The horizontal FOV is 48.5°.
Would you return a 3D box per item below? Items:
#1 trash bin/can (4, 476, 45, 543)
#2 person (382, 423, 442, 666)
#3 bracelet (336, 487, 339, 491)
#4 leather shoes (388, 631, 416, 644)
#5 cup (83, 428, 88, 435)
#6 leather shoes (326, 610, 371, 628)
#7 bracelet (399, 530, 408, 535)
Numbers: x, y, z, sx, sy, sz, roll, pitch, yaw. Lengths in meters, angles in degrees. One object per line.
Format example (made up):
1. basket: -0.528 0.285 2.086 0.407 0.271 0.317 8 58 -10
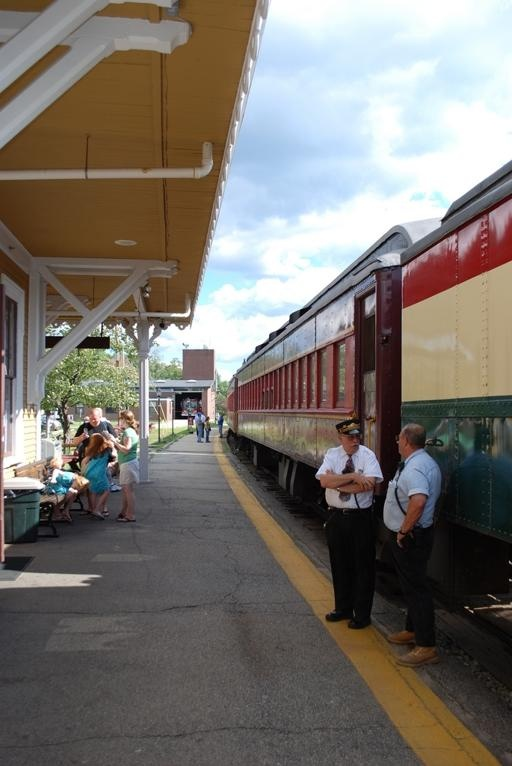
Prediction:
1. trash bin/can: -2.681 1.456 6.467 0.395 0.740 0.395 3 -6 -24
2. person: 0.941 0.946 3.400 0.336 1.405 0.658 0 -5 14
3. bracelet: 0.571 0.735 3.964 0.007 0.028 0.020 0 -11 29
4. leather shoes: 0.939 1.634 3.692 0.192 0.087 0.071 5 -3 0
5. cup: -2.685 0.761 8.906 0.030 0.098 0.071 -4 -22 7
6. leather shoes: 0.637 1.655 3.973 0.304 0.131 0.111 7 -4 3
7. bracelet: 0.851 0.858 3.278 0.035 0.010 0.037 -2 4 -32
